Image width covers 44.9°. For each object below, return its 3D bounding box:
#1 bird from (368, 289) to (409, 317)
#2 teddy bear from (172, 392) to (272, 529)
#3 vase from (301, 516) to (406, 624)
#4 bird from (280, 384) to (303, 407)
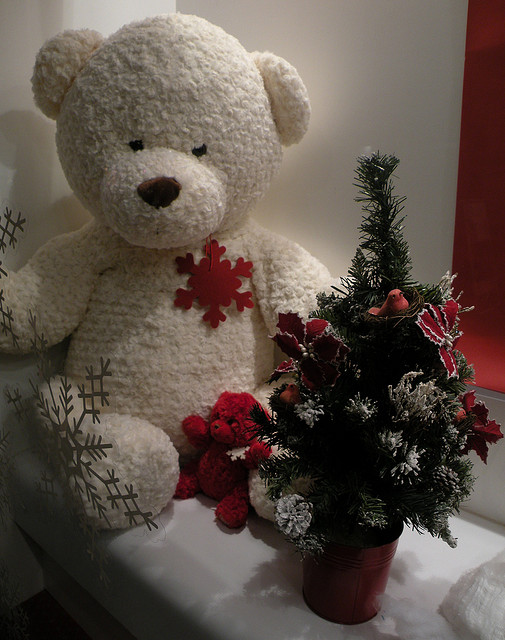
[{"bbox_3d":[0.171,-0.020,0.755,0.046,0.036,0.028,-20,12,16],"label":"bird"},{"bbox_3d":[-0.047,0.227,1.073,0.191,0.190,0.154,15,15,40],"label":"teddy bear"},{"bbox_3d":[0.141,0.351,0.892,0.135,0.124,0.125,11,14,27],"label":"vase"},{"bbox_3d":[0.053,0.103,0.841,0.031,0.027,0.029,14,16,-12],"label":"bird"}]
